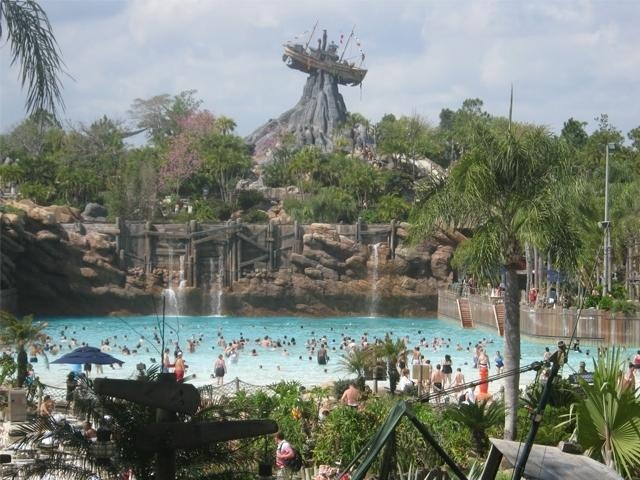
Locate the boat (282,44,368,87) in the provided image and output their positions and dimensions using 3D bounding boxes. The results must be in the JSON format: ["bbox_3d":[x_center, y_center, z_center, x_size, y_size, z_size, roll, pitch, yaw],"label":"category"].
[{"bbox_3d":[0.413,-22.655,141.358,10.545,4.887,12.705,1,-5,-3],"label":"boat"}]
